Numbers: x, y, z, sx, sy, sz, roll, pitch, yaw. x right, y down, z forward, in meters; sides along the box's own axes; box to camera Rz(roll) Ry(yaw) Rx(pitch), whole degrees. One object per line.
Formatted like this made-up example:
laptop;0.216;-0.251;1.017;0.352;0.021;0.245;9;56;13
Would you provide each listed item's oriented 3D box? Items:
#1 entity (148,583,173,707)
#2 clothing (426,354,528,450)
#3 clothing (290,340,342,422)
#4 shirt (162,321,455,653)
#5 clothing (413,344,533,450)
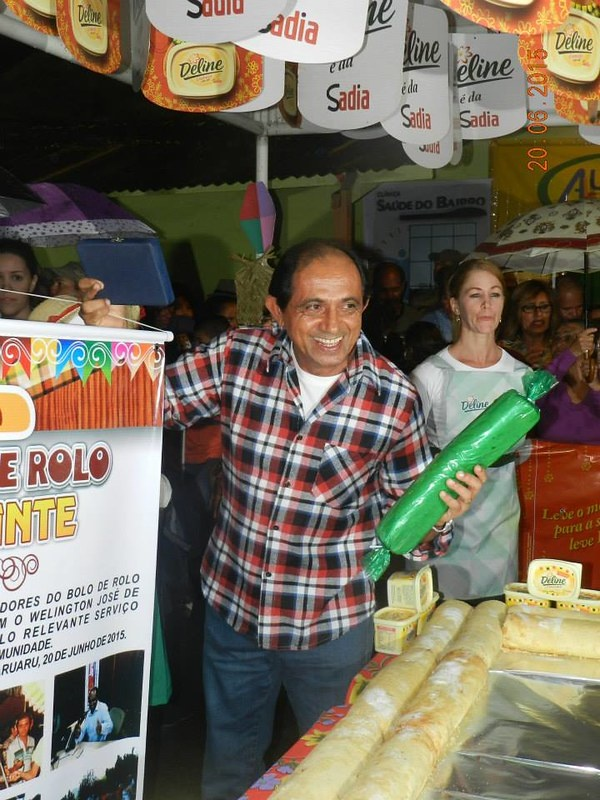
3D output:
entity;-0.578;0.951;2.671;0.118;0.453;0.076;4;-35;-14
clothing;0.635;0.001;2.527;0.436;0.356;0.210;1;23;-19
clothing;0.051;-0.051;1.974;0.158;0.189;0.130;0;-40;2
shirt;-0.090;0.254;2.025;1.070;0.833;0.418;9;2;-2
clothing;0.637;-0.017;2.556;0.500;0.404;0.242;-3;15;-13
